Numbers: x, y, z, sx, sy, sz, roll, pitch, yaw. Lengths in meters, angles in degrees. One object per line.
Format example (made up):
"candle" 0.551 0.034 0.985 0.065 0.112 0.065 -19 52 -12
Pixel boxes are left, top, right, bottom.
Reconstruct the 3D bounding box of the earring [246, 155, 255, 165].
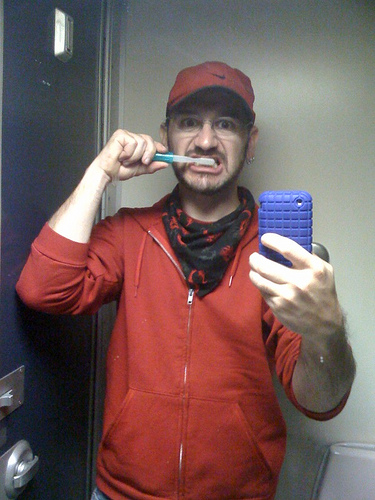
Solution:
"earring" 0.123 -0.178 1.004 0.017 0.010 0.023 -5 9 8

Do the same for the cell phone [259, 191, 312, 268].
"cell phone" 0.142 -0.021 0.762 0.080 0.162 0.022 0 35 11

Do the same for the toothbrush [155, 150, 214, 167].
"toothbrush" -0.005 -0.195 1.083 0.127 0.020 0.018 11 3 31
